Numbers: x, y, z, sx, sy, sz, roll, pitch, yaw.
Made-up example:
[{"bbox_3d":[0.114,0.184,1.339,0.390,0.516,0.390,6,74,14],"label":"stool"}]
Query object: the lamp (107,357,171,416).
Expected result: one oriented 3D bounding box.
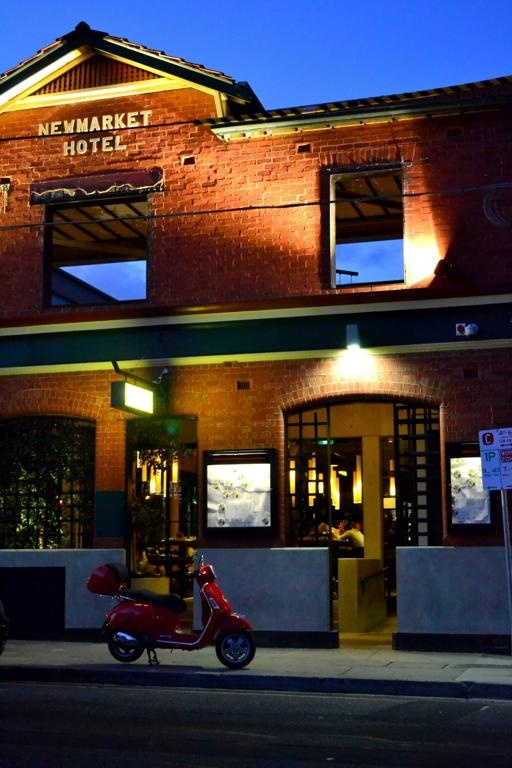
[{"bbox_3d":[-1.698,0.044,13.560,0.624,0.843,1.387,-3,-12,11],"label":"lamp"}]
